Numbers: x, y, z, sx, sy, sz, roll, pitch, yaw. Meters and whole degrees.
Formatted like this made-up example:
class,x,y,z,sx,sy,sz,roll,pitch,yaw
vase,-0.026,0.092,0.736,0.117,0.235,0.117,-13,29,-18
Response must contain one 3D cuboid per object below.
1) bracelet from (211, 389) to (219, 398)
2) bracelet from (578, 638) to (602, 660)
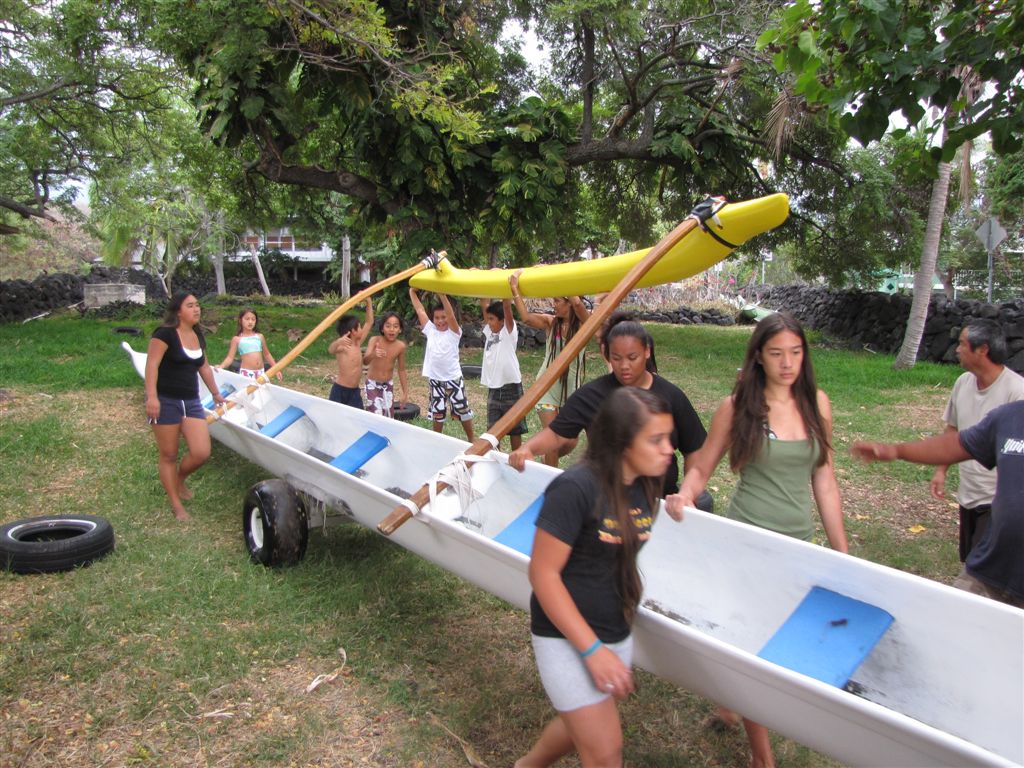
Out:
class,x,y,z,sx,sy,sz,roll,pitch,yaw
bracelet,-2.723,0.101,7.068,0.018,0.054,0.071,-14,-4,1
bracelet,0.348,1.181,3.480,0.078,0.062,0.080,-27,5,30
